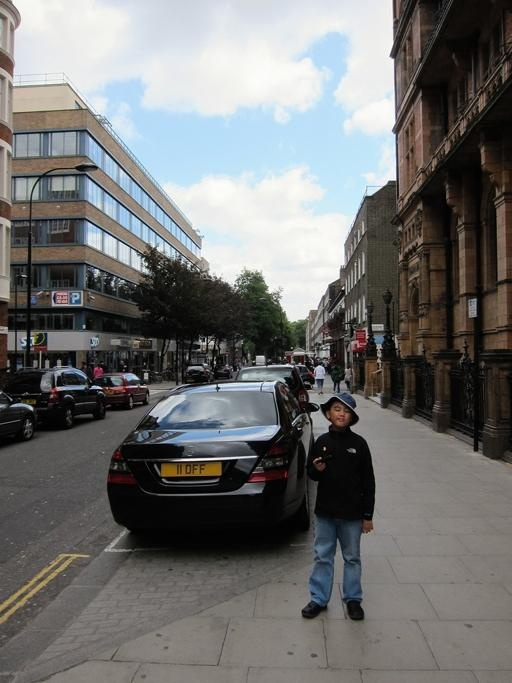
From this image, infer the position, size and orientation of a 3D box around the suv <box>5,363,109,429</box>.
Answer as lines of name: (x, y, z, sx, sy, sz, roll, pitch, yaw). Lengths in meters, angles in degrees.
suv: (-5.528, 1.492, 16.923, 1.288, 1.220, 2.933, 0, 1, 12)

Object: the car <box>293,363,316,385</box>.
car: (3.152, 2.210, 37.665, 1.192, 1.143, 2.585, 0, 8, 5)

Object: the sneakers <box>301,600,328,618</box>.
sneakers: (0.329, 1.538, 3.380, 0.057, 0.073, 0.177, -11, -20, 28)

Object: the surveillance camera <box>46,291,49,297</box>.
surveillance camera: (-14.407, -3.235, 40.810, 0.281, 0.314, 0.204, -1, -9, -2)

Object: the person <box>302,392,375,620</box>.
person: (0.462, 0.935, 3.404, 0.427, 1.262, 0.329, -1, -3, 11)

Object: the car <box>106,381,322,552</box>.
car: (-0.316, 0.888, 4.725, 0.947, 0.739, 2.220, -1, -1, 9)

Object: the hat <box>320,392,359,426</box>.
hat: (0.486, 0.406, 3.483, 0.200, 0.199, 0.445, -1, -3, 6)

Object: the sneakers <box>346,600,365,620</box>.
sneakers: (0.558, 1.514, 3.323, 0.096, 0.077, 0.127, -1, -3, 7)
